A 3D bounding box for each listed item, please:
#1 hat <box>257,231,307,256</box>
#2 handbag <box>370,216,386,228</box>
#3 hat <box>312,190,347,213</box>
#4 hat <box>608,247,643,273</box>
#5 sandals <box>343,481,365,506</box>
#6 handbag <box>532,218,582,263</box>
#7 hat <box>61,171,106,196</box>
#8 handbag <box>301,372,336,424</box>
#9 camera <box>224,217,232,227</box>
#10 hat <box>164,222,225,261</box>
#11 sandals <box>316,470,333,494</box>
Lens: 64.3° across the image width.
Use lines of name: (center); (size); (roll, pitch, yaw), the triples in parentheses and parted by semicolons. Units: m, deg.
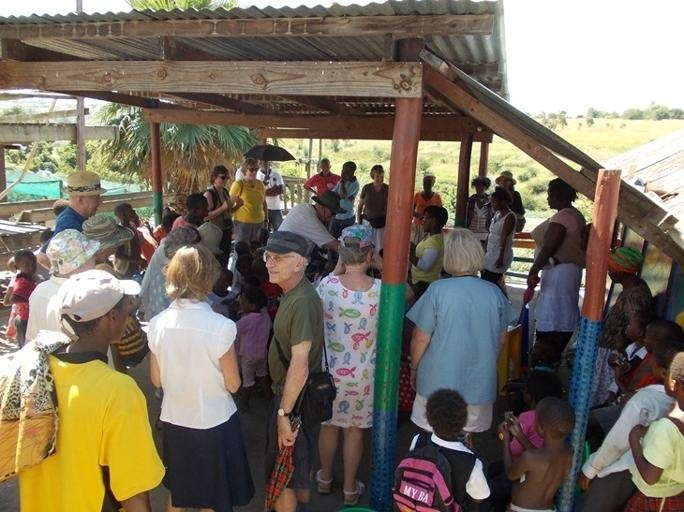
hat: (-0.386, -0.092, 3.897); (0.242, 0.093, 0.176); (6, -3, -37)
handbag: (0.654, -0.643, 10.151); (0.300, 0.234, 0.254); (-2, 21, 2)
hat: (-0.130, -0.578, 5.663); (0.303, 0.116, 0.275); (31, 10, -3)
hat: (2.544, 0.032, 4.922); (0.236, 0.211, 0.188); (6, -20, -44)
sandals: (0.088, 1.930, 4.424); (0.095, 0.099, 0.235); (1, 11, 13)
handbag: (2.312, -0.183, 5.819); (0.479, 0.456, 0.374); (11, 9, 20)
hat: (-2.374, -0.682, 4.936); (0.265, 0.107, 0.231); (20, 18, 29)
handbag: (-0.164, 1.005, 3.885); (0.130, 0.347, 0.279); (6, 9, 30)
camera: (-1.647, -0.499, 7.854); (0.026, 0.102, 0.111); (5, 4, 34)
hat: (-1.354, -0.184, 5.212); (0.672, 0.352, 0.464); (-3, 9, -41)
sandals: (-0.154, 1.884, 4.537); (0.092, 0.084, 0.198); (0, 6, -2)
